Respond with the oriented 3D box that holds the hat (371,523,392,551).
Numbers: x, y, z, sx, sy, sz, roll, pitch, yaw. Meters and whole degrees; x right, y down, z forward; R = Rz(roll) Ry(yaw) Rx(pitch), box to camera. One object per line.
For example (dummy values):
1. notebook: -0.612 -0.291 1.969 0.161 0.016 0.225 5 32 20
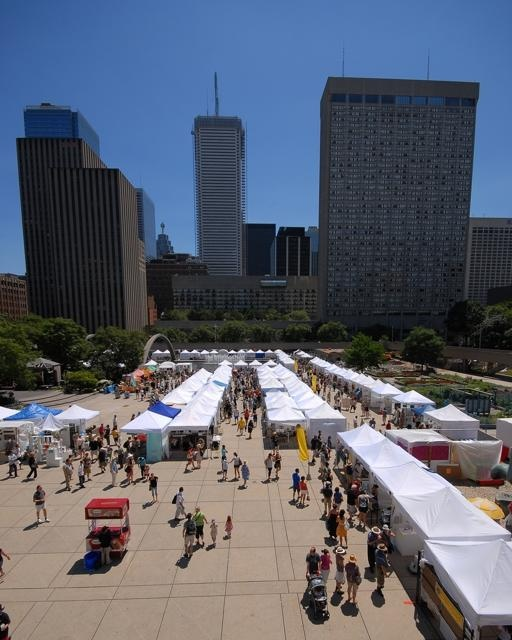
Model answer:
1. hat: 3.728 6.444 13.576 0.573 1.383 0.505 7 41 24
